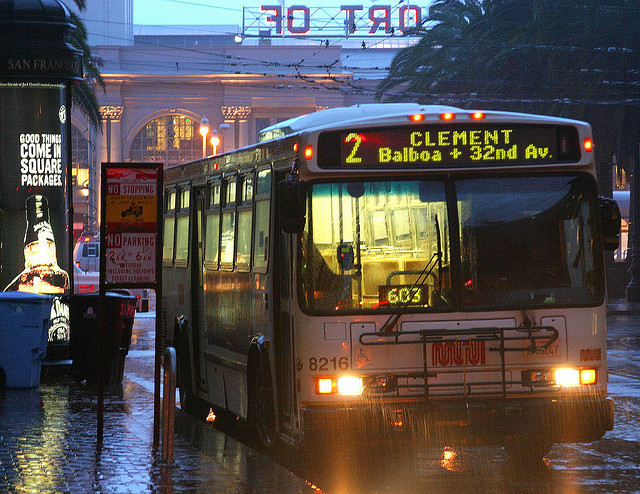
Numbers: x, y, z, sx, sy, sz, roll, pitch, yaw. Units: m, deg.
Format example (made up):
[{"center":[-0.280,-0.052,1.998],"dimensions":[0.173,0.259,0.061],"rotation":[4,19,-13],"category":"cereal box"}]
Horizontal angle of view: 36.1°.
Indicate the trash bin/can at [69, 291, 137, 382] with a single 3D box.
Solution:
[{"center":[-3.602,1.542,16.616],"dimensions":[1.229,2.010,1.397],"rotation":[1,-5,-4],"category":"trash bin/can"}]
